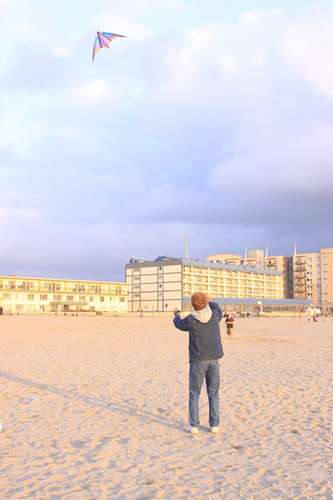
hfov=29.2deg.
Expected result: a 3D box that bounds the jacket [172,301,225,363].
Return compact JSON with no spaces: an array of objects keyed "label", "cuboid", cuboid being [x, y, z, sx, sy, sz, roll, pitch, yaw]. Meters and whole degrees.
[{"label":"jacket","cuboid":[0.458,1.143,8.673,0.620,0.795,0.484,-4,-2,-3]}]

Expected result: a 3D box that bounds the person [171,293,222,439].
[{"label":"person","cuboid":[0.443,1.543,8.568,0.570,1.896,0.384,-2,-2,2]}]
